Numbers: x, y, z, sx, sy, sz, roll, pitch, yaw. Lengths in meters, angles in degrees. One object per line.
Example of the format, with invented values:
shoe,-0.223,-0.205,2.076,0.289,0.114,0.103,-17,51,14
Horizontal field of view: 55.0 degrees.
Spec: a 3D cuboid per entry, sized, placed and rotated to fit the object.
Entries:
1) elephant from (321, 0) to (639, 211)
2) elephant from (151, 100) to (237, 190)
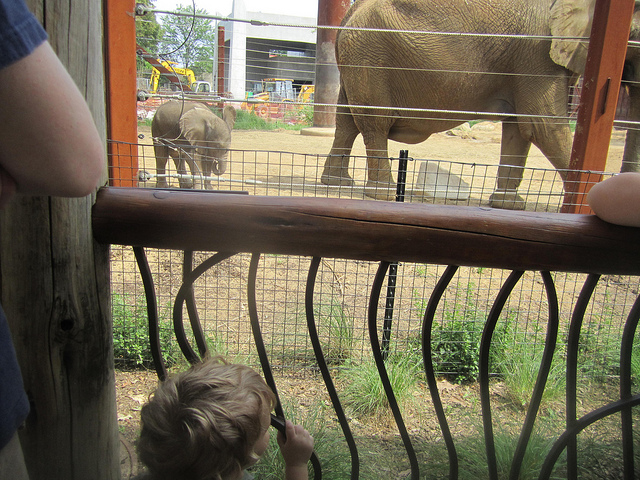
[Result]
elephant,1.896,-2.008,8.359,4.800,3.118,2.112,3,16,0
elephant,-1.641,-1.243,8.206,1.437,1.084,0.959,15,16,21
